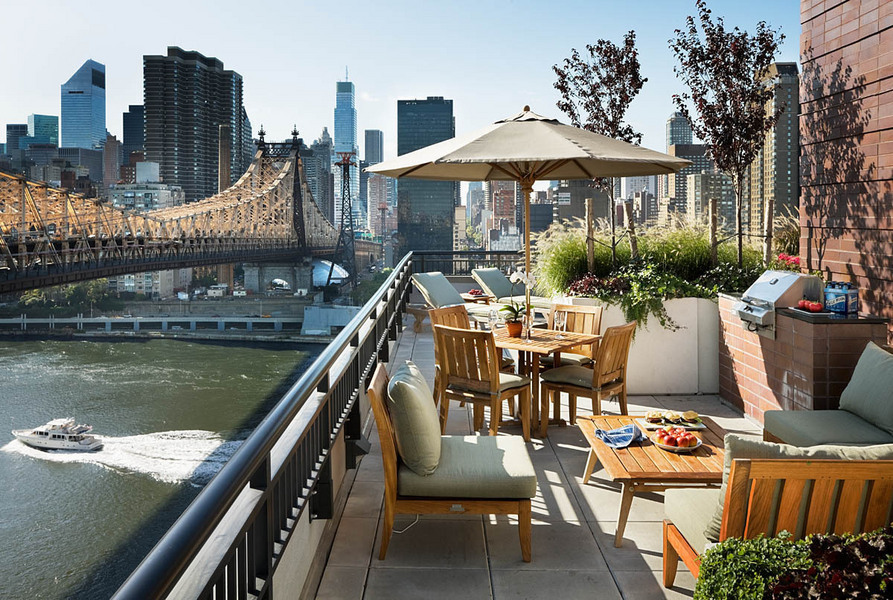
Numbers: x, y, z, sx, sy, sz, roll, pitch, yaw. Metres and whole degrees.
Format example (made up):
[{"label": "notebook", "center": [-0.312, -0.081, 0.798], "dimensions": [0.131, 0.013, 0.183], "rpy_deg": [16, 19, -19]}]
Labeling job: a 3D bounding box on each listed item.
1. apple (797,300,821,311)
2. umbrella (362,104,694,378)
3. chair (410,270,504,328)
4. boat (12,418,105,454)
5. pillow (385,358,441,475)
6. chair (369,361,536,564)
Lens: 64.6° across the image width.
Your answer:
[{"label": "apple", "center": [2.951, 0.043, 5.772], "dimensions": [0.075, 0.075, 0.145], "rpy_deg": [0, 1, -3]}, {"label": "umbrella", "center": [0.711, -0.716, 6.411], "dimensions": [2.411, 1.931, 2.512], "rpy_deg": [15, 24, 39]}, {"label": "chair", "center": [0.014, 0.020, 9.602], "dimensions": [1.068, 0.501, 0.625], "rpy_deg": [10, 3, 1]}, {"label": "boat", "center": [-19.196, 6.836, 35.307], "dimensions": [2.954, 1.211, 0.942], "rpy_deg": [2, 15, 14]}, {"label": "pillow", "center": [-0.187, 0.758, 4.603], "dimensions": [0.291, 0.558, 0.839], "rpy_deg": [-1, 7, 0]}, {"label": "chair", "center": [0.076, 1.038, 4.785], "dimensions": [0.996, 1.032, 1.185], "rpy_deg": [1, 3, 4]}]
